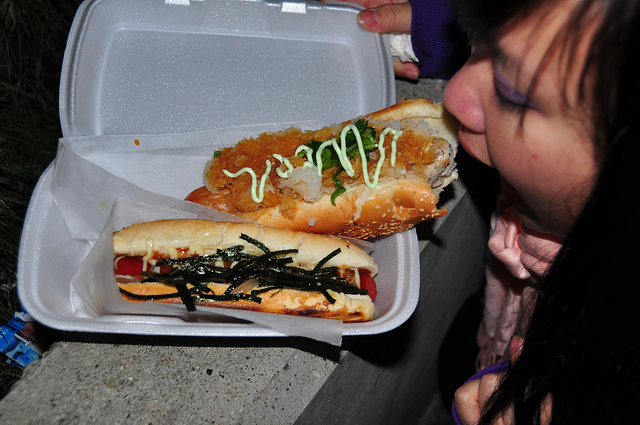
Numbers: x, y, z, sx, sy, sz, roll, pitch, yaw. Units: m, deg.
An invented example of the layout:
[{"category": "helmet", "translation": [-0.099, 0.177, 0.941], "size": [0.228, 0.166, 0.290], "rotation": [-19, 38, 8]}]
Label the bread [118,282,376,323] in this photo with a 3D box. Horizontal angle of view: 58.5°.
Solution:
[{"category": "bread", "translation": [-0.288, 0.405, 2.608], "size": [1.084, 0.200, 0.136], "rotation": [3, 73, 2]}]
